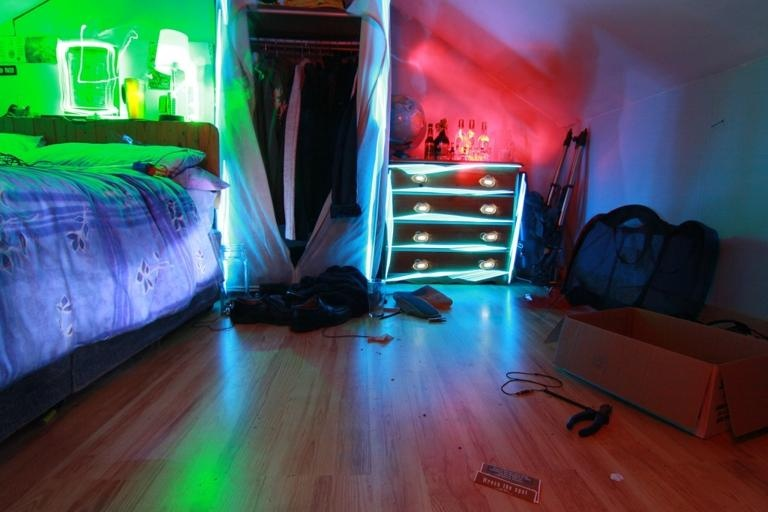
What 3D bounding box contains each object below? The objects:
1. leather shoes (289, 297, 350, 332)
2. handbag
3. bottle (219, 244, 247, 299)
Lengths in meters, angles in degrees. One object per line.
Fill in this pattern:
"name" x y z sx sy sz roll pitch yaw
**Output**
"leather shoes" -0.352 0.302 2.703 0.299 0.144 0.148 -6 12 -30
"handbag" 1.408 0.038 2.768 0.316 0.616 0.845 -4 12 -18
"bottle" -0.951 0.090 3.085 0.185 0.338 0.161 -1 12 -1
